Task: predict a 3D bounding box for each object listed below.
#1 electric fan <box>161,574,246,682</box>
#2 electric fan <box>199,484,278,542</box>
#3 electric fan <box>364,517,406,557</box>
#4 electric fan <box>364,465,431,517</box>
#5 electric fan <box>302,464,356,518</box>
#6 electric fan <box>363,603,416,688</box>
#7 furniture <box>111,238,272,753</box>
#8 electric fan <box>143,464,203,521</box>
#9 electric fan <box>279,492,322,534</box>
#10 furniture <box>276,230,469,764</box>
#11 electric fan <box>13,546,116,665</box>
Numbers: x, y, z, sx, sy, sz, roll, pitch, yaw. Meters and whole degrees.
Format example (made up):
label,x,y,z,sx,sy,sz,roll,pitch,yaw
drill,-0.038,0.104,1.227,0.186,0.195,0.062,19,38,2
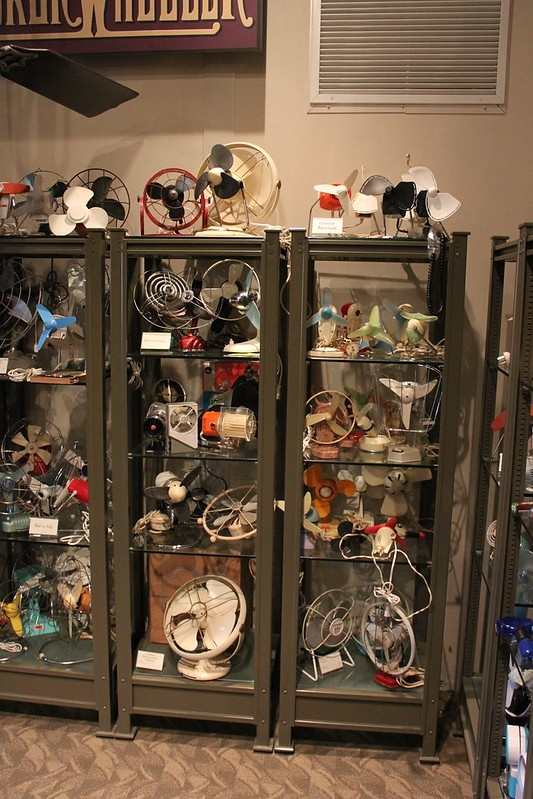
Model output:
label,x,y,z,sx,sy,sz,roll,pitch,yaw
electric fan,-0.241,0.851,2.585,0.326,0.367,0.254,4,-3,23
electric fan,-0.110,0.458,2.598,0.269,0.113,0.276,-5,6,-13
electric fan,0.424,0.480,2.451,0.122,0.056,0.142,15,43,24
electric fan,0.466,0.316,2.502,0.208,0.219,0.083,-29,18,19
electric fan,0.214,0.342,2.570,0.215,0.205,0.059,18,13,8
electric fan,0.433,0.868,2.496,0.221,0.272,0.125,1,5,37
furniture,-0.244,0.364,2.583,0.604,1.811,0.573,0,8,-3
electric fan,-0.368,0.340,2.549,0.174,0.249,0.138,-5,26,-23
electric fan,0.110,0.411,2.455,0.076,0.158,0.150,-6,-5,23
furniture,0.342,0.326,2.565,0.682,1.823,0.633,3,9,15
electric fan,-0.770,0.840,2.772,0.234,0.368,0.320,0,-5,-21
